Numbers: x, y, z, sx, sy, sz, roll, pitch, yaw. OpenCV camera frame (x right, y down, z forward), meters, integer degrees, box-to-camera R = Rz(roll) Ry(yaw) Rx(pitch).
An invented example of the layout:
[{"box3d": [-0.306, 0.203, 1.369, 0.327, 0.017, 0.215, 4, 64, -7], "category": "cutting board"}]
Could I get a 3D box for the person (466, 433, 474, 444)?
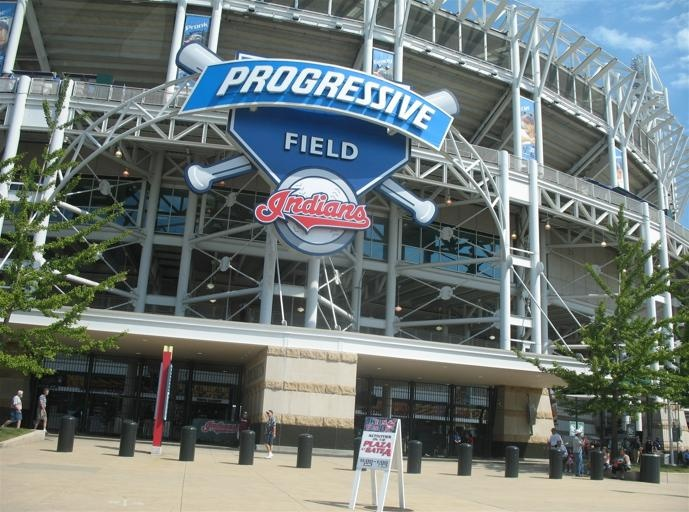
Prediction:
[{"box3d": [7.615, 10.942, 44.804, 0.413, 0.784, 1.421, 1, -14, 10], "category": "person"}]
